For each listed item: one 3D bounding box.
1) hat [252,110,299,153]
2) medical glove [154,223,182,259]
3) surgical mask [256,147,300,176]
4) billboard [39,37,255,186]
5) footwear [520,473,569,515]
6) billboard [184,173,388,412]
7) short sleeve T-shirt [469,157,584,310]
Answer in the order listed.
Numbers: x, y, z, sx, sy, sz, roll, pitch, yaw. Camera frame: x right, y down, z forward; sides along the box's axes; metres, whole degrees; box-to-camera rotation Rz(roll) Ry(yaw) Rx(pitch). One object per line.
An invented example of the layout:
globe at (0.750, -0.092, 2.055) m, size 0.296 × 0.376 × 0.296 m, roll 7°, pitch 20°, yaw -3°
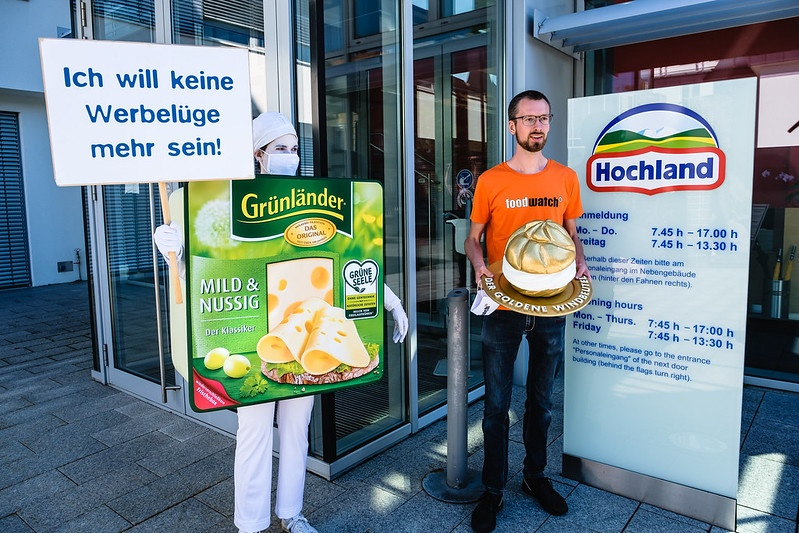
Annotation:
hat at (-0.712, -0.756, 3.179) m, size 0.239 × 0.209 × 0.144 m, roll -7°, pitch 13°, yaw -22°
medical glove at (-1.173, -0.127, 2.859) m, size 0.128 × 0.169 × 0.067 m, roll -3°, pitch 5°, yaw -4°
surgical mask at (-0.686, -0.583, 3.221) m, size 0.181 × 0.100 × 0.174 m, roll 7°, pitch 10°, yaw 25°
billboard at (-1.187, -0.727, 2.694) m, size 0.823 × 0.569 × 0.030 m, roll -3°, pitch 3°, yaw -22°
footwear at (0.908, 1.419, 3.627) m, size 0.126 × 0.134 × 0.345 m, roll -18°, pitch 22°, yaw -34°
billboard at (-0.620, 0.109, 2.957) m, size 1.311 × 1.292 × 0.023 m, roll -2°, pitch 3°, yaw -25°
short sleeve T-shirt at (0.680, -0.202, 3.706) m, size 1.047 × 0.987 × 0.558 m, roll -2°, pitch 13°, yaw -5°
